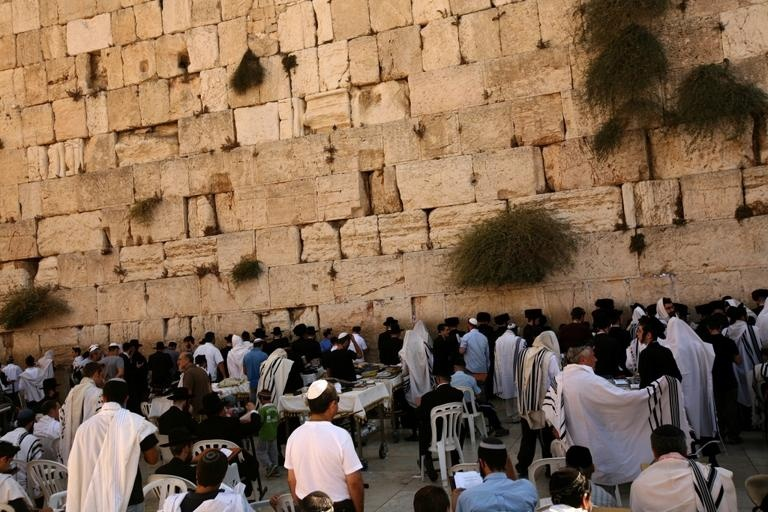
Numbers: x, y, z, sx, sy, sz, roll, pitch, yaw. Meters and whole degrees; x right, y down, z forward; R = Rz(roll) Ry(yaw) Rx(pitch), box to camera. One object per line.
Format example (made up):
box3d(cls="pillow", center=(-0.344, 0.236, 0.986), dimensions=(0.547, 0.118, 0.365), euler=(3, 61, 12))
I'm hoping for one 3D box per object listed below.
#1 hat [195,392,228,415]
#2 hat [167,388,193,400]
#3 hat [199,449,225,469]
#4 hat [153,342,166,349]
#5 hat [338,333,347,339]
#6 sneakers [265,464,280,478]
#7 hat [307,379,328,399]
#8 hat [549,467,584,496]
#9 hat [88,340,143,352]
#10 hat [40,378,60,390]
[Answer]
box3d(cls="hat", center=(-3.010, 2.547, 17.339), dimensions=(0.434, 0.386, 0.423), euler=(-5, -8, -12))
box3d(cls="hat", center=(-3.562, 2.381, 17.373), dimensions=(0.439, 0.143, 0.393), euler=(-1, -2, -15))
box3d(cls="hat", center=(-2.606, 2.997, 15.078), dimensions=(0.412, 0.194, 0.251), euler=(-5, -8, -9))
box3d(cls="hat", center=(-5.207, 2.093, 23.398), dimensions=(0.286, 0.098, 0.256), euler=(1, -1, -41))
box3d(cls="hat", center=(-0.937, 1.735, 22.111), dimensions=(0.178, 0.039, 0.170), euler=(-13, 14, -15))
box3d(cls="sneakers", center=(-2.108, 4.013, 18.810), dimensions=(0.134, 0.346, 0.153), euler=(25, 2, -32))
box3d(cls="hat", center=(-1.038, 2.046, 15.464), dimensions=(0.350, 0.277, 0.198), euler=(-6, -8, -3))
box3d(cls="hat", center=(2.666, 3.279, 14.588), dimensions=(0.448, 0.339, 0.339), euler=(-15, 19, 11))
box3d(cls="hat", center=(-6.379, 2.101, 23.619), dimensions=(0.829, 0.200, 0.585), euler=(-6, -4, 13))
box3d(cls="hat", center=(-6.337, 2.443, 18.898), dimensions=(0.288, 0.249, 0.324), euler=(-2, 12, -6))
